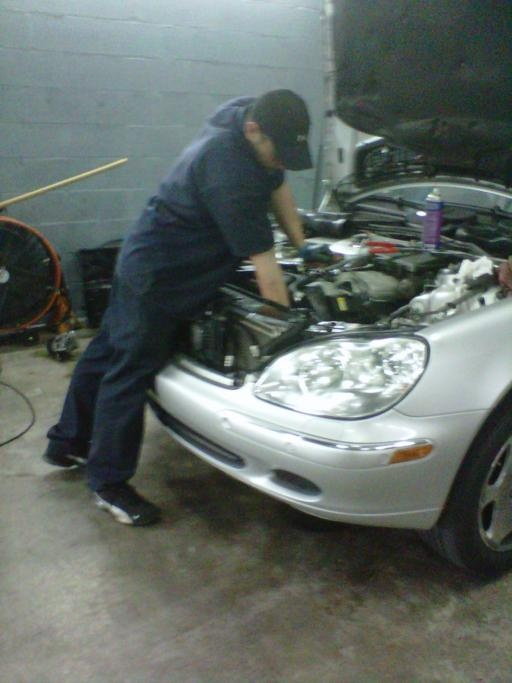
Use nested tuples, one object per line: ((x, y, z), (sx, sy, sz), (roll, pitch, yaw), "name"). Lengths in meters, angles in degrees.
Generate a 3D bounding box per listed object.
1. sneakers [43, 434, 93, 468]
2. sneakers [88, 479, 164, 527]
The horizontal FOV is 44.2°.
((-0.723, 0.392, 2.448), (0.198, 0.160, 0.106), (-6, 30, -21), "sneakers")
((-0.438, 0.532, 2.109), (0.241, 0.081, 0.101), (11, 8, 34), "sneakers")
